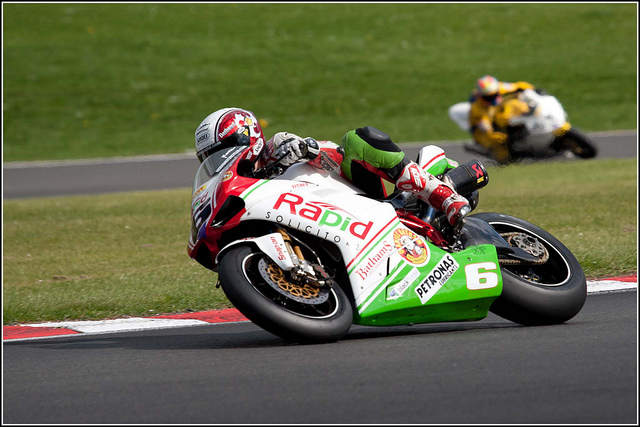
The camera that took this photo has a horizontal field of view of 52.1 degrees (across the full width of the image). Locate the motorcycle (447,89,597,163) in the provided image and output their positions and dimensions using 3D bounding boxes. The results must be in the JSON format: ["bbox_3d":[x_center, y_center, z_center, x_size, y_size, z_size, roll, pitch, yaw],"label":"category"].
[{"bbox_3d":[2.021,-0.832,6.963,1.897,0.811,0.598,-5,25,-6],"label":"motorcycle"}]

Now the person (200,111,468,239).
[{"bbox_3d":[0.166,-0.394,5.482,2.338,0.629,1.035,11,-7,-13],"label":"person"}]

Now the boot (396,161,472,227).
[{"bbox_3d":[0.885,-0.182,5.486,0.690,0.257,0.356,34,-6,-12],"label":"boot"}]
